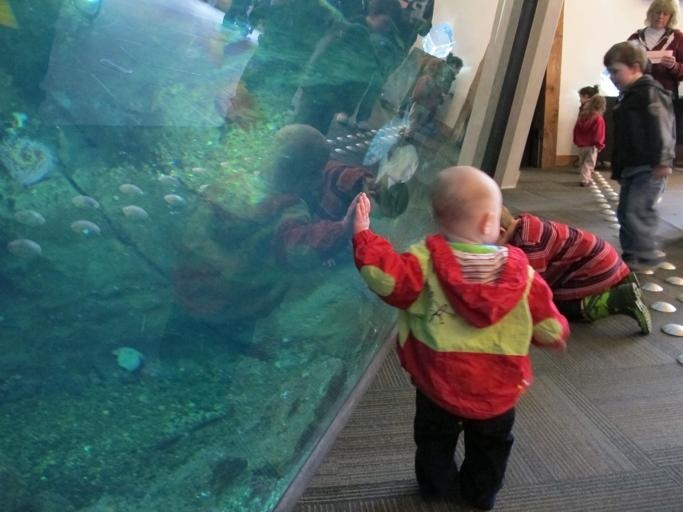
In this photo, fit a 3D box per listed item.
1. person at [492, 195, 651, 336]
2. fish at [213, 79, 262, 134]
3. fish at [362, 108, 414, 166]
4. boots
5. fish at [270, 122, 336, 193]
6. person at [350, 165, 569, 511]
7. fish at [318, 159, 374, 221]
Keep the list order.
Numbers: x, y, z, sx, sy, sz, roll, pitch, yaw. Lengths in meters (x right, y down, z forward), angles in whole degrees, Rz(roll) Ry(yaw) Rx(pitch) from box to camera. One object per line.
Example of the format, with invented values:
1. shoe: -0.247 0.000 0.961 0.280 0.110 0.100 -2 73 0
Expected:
1. person: 1.294 0.109 2.758 0.921 0.516 0.367 13 -2 18
2. fish: -0.215 -0.310 0.955 0.024 0.084 0.091 -10 11 45
3. fish: 0.170 -0.434 1.676 0.108 0.007 0.363 41 35 -8
4. boots: 1.582 0.270 2.716 0.365 0.361 0.175 -23 2 24
5. fish: -0.109 -0.248 1.174 0.118 0.169 0.182 21 40 -2
6. person: 0.328 0.302 1.404 0.664 1.118 0.268 5 17 -2
7. fish: 0.033 -0.213 1.383 0.076 0.139 0.176 5 49 18
